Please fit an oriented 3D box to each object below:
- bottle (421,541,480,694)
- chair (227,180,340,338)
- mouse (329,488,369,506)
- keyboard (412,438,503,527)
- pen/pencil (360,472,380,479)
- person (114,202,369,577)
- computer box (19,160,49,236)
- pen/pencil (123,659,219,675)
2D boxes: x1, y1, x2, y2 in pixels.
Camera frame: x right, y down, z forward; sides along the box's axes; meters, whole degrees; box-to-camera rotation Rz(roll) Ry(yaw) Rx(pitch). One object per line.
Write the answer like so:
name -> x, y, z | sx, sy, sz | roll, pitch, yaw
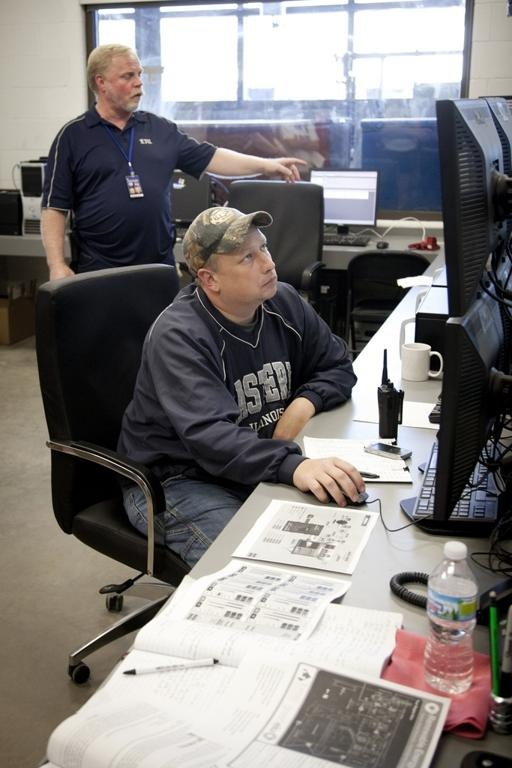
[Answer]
bottle -> 0.207, 0.250, 0.651 | 0.051, 0.135, 0.076 | 3, 10, 20
chair -> 0.234, -0.914, 4.042 | 0.731, 1.146, 0.712 | 1, 14, 11
mouse -> 0.176, 0.206, 1.112 | 0.049, 0.014, 0.029 | -2, 20, 8
keyboard -> 0.341, 0.215, 1.056 | 0.125, 0.031, 0.305 | 4, 26, 12
pen/pencil -> 0.224, 0.181, 1.202 | 0.039, 0.008, 0.023 | -1, 10, 1
person -> 0.016, -0.033, 1.481 | 0.666, 0.790, 0.612 | 5, 11, 29
computer box -> -1.664, -1.453, 4.858 | 0.258, 0.500, 0.342 | 7, 11, 29
pen/pencil -> -0.092, 0.316, 0.681 | 0.093, 0.008, 0.010 | -3, 36, -3
